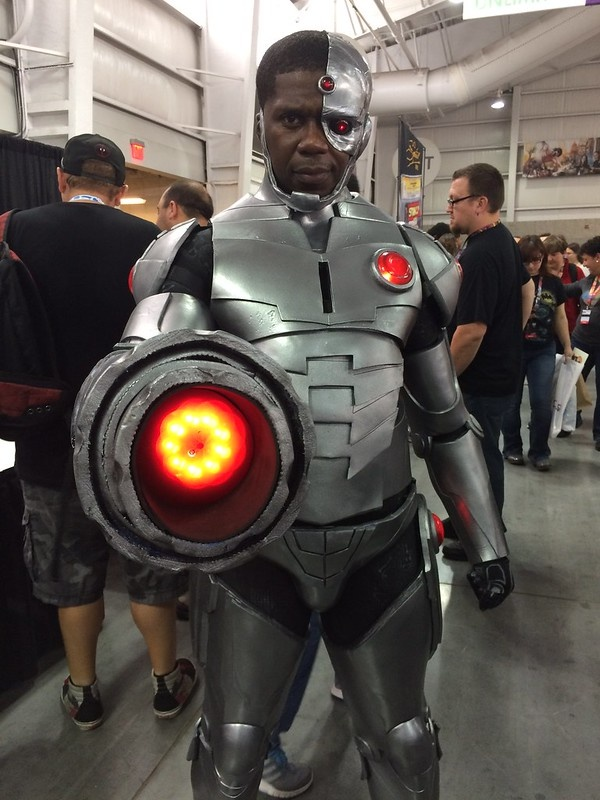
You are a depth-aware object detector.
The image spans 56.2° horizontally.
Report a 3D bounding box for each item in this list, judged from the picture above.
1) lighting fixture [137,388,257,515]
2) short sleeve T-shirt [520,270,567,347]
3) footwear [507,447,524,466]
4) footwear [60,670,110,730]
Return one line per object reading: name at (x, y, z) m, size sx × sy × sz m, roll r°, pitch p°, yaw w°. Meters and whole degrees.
lighting fixture at (-0.098, 0.043, 0.542) m, size 0.099 × 0.100 × 0.097 m, roll -5°, pitch 2°, yaw -23°
short sleeve T-shirt at (1.617, -0.614, 3.835) m, size 0.424 × 0.415 × 0.241 m, roll 10°, pitch 25°, yaw 42°
footwear at (1.562, 0.429, 4.085) m, size 0.065 × 0.072 × 0.166 m, roll 0°, pitch 2°, yaw 4°
footwear at (-0.630, 0.881, 1.631) m, size 0.075 × 0.089 × 0.200 m, roll 3°, pitch 6°, yaw -14°
